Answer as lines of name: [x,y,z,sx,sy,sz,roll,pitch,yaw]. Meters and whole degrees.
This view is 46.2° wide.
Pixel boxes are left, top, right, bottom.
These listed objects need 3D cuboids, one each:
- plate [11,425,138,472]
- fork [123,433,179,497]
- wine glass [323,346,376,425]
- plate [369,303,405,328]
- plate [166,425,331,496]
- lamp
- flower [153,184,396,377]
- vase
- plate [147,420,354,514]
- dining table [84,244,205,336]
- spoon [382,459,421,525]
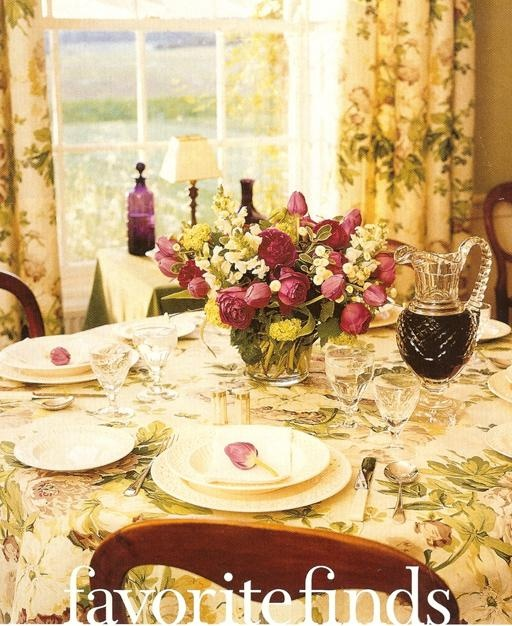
plate: [-0.274,0.205,0.882,0.174,0.020,0.164,5,9,11]
fork: [-0.146,0.213,0.849,0.016,0.010,0.126,-4,24,25]
wine glass: [0.160,0.127,1.035,0.103,0.139,0.094,-8,20,-15]
plate: [0.351,0.011,1.628,0.099,0.012,0.092,2,29,26]
plate: [0.011,0.199,0.902,0.190,0.041,0.187,-20,-4,-31]
lamp: [-0.277,-0.562,2.606,0.287,0.401,0.262,17,36,20]
flower: [0.037,0.008,1.214,0.343,0.269,0.361,1,-3,34]
vase: [0.036,0.078,1.190,0.158,0.095,0.135,0,0,-29]
plate: [-0.005,0.202,0.834,0.274,0.046,0.260,-3,-5,14]
dining table: [-0.468,-0.099,2.501,0.432,0.247,0.546,-4,20,-22]
spoon: [0.184,0.234,0.770,0.042,0.016,0.159,4,16,15]
